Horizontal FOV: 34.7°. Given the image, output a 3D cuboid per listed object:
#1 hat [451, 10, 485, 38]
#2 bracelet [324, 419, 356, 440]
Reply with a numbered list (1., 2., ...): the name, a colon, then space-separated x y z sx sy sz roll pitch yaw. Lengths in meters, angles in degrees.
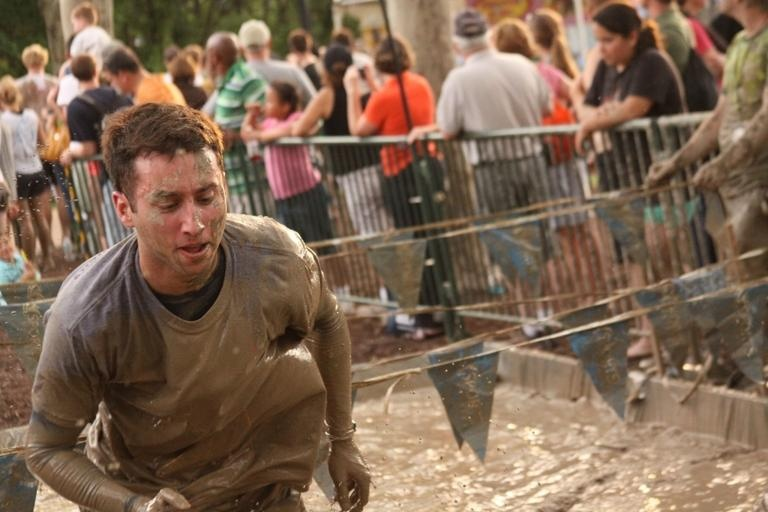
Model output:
1. hat: 0.495 -1.334 7.088 0.194 0.168 0.083 -6 6 5
2. bracelet: -0.239 0.915 6.535 0.151 0.088 0.186 -1 9 -3
